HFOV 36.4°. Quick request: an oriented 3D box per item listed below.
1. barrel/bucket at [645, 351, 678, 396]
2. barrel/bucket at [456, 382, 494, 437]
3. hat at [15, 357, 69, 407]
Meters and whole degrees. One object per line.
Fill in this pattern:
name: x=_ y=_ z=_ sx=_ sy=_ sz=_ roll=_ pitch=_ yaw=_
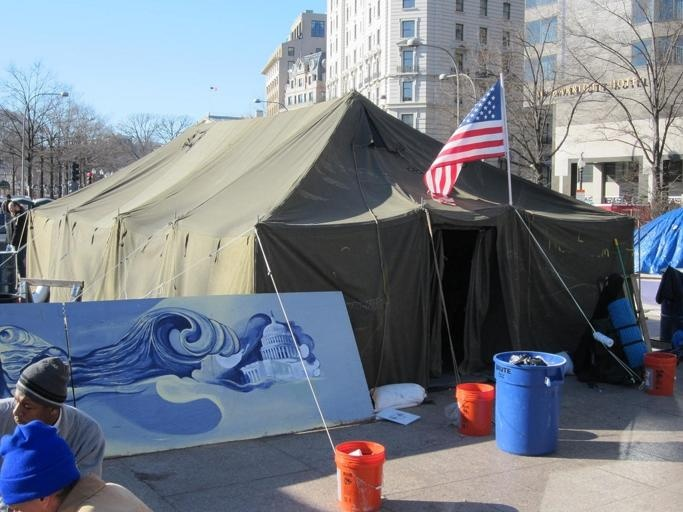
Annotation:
barrel/bucket: x=6.010 y=2.252 z=19.541 sx=0.685 sy=0.799 sz=0.718 roll=-1 pitch=-5 yaw=0
barrel/bucket: x=2.288 y=2.667 z=17.848 sx=0.779 sy=0.776 sz=0.805 roll=-1 pitch=-1 yaw=0
hat: x=-4.088 y=1.673 z=14.254 sx=0.659 sy=0.573 sz=0.638 roll=11 pitch=8 yaw=-17
